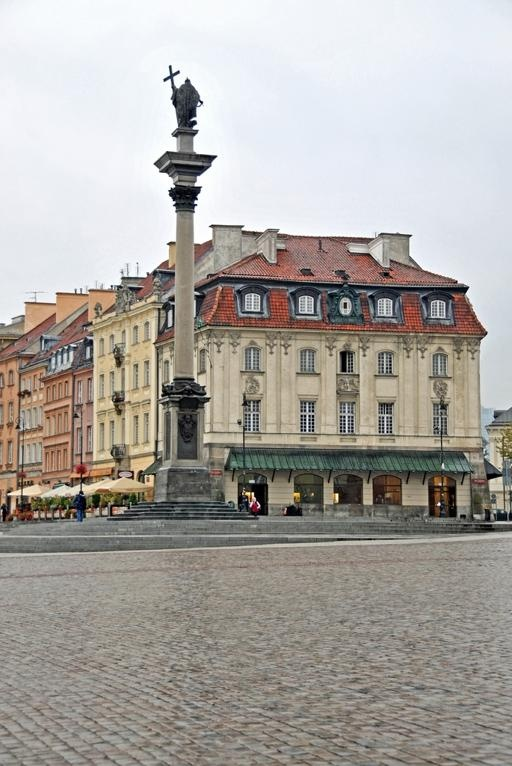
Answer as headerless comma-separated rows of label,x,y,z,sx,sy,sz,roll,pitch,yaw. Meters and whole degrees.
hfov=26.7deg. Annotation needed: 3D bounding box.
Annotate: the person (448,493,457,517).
person,14.117,8.686,77.756,0.600,1.713,0.378,-1,-7,9
